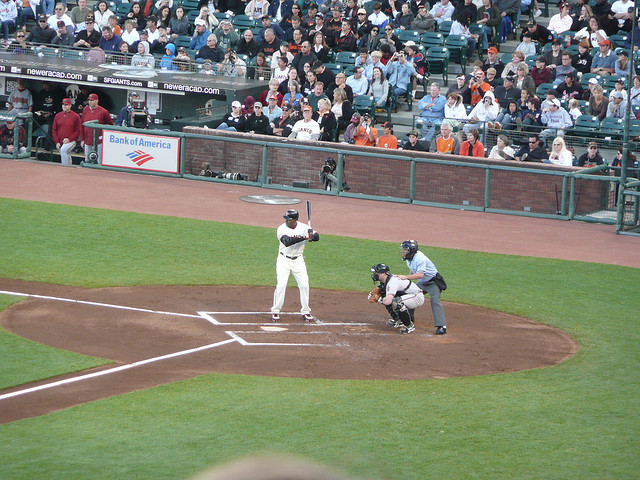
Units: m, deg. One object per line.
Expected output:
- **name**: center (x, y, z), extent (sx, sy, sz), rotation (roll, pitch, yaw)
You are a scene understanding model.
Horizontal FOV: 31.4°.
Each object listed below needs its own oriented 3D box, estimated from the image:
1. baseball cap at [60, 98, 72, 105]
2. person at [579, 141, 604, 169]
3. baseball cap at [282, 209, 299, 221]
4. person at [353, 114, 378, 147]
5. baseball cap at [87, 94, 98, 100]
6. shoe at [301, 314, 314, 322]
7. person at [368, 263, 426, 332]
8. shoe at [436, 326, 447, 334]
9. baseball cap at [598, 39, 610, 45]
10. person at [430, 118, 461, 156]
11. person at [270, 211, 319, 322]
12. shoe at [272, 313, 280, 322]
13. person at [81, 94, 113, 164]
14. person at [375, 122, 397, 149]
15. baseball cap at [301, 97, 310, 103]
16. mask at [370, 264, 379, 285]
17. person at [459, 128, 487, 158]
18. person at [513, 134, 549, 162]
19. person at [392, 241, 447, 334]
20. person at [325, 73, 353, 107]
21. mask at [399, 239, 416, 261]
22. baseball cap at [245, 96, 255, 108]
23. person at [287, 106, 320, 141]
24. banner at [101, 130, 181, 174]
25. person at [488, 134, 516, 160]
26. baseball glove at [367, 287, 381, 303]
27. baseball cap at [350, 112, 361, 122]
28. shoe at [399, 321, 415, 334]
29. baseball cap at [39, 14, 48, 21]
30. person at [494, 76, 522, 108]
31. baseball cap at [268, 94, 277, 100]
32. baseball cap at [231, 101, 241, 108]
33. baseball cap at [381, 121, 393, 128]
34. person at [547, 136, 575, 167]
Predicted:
- **baseball cap**: center (-7.257, -3.908, 32.463), extent (0.269, 0.153, 0.345), rotation (4, 8, 9)
- **person**: center (6.876, -2.146, 28.876), extent (0.587, 0.649, 0.895), rotation (3, 4, 23)
- **baseball cap**: center (-0.558, -0.465, 21.329), extent (0.259, 0.114, 0.167), rotation (7, 37, 10)
- **person**: center (1.234, -2.948, 30.909), extent (0.672, 0.840, 0.420), rotation (2, 4, 1)
- **baseball cap**: center (-6.480, -4.040, 32.422), extent (0.238, 0.104, 0.174), rotation (11, 0, -40)
- **shoe**: center (-0.232, 1.478, 21.764), extent (0.219, 0.140, 0.186), rotation (1, 4, -2)
- **person**: center (1.470, 1.079, 21.697), extent (1.178, 1.126, 0.956), rotation (-4, 6, -17)
- **shoe**: center (2.280, 1.688, 21.376), extent (0.206, 0.112, 0.093), rotation (-2, 9, -23)
- **baseball cap**: center (7.865, -5.422, 31.431), extent (0.280, 0.123, 0.166), rotation (-3, 13, -1)
- **person**: center (3.380, -2.698, 30.334), extent (0.979, 0.927, 0.604), rotation (11, 25, 28)
- **person**: center (-0.504, 0.505, 21.551), extent (0.842, 2.096, 0.618), rotation (2, 4, -2)
- **shoe**: center (-0.846, 1.459, 21.598), extent (0.122, 0.164, 0.120), rotation (1, 4, -7)
- **person**: center (-6.384, -3.124, 32.212), extent (0.776, 1.959, 1.105), rotation (1, 4, -11)
- **person**: center (1.804, -2.784, 30.622), extent (0.556, 0.696, 0.569), rotation (2, 4, 2)
- **baseball cap**: center (-0.416, -3.879, 31.722), extent (0.205, 0.161, 0.323), rotation (4, 8, -9)
- **mask**: center (1.034, 0.681, 21.501), extent (0.177, 0.291, 0.233), rotation (2, 14, -2)
- **person**: center (3.963, -2.506, 29.742), extent (0.695, 0.707, 0.538), rotation (3, 4, 20)
- **person**: center (5.527, -2.290, 29.721), extent (1.024, 0.686, 0.687), rotation (7, 14, 24)
- **person**: center (1.872, 0.875, 21.571), extent (1.055, 1.697, 1.047), rotation (1, 4, 17)
- **person**: center (0.473, -4.146, 31.748), extent (0.844, 0.878, 0.937), rotation (3, 4, 20)
- **mask**: center (1.667, 0.201, 21.439), extent (0.275, 0.360, 0.315), rotation (2, 4, 5)
- **baseball cap**: center (-2.010, -3.876, 32.265), extent (0.253, 0.299, 0.295), rotation (1, 4, -7)
- **person**: center (-0.433, -3.152, 31.012), extent (0.848, 0.880, 0.496), rotation (2, 4, 4)
- **banner**: center (-4.998, -2.449, 31.768), extent (2.937, 1.259, 0.211), rotation (9, 12, 30)
- **person**: center (4.737, -2.397, 29.687), extent (0.572, 0.621, 0.834), rotation (4, 4, 25)
- **baseball glove**: center (0.961, 1.058, 21.567), extent (0.323, 0.137, 0.234), rotation (7, 26, 29)
- **baseball cap**: center (0.988, -3.312, 30.917), extent (0.210, 0.140, 0.266), rotation (15, 30, 23)
- **shoe**: center (1.567, 1.660, 21.414), extent (0.414, 0.221, 0.123), rotation (-2, 14, -6)
- **baseball cap**: center (-8.825, -7.018, 36.125), extent (0.255, 0.222, 0.318), rotation (1, 3, -6)
- **person**: center (5.113, -3.975, 30.793), extent (0.988, 0.805, 0.543), rotation (10, 17, 38)
- **baseball cap**: center (-1.320, -3.985, 31.904), extent (0.129, 0.148, 0.166), rotation (-1, -5, 8)
- **baseball cap**: center (-2.362, -3.770, 31.795), extent (0.195, 0.168, 0.329), rotation (1, 4, -5)
- **baseball cap**: center (1.795, -3.072, 30.414), extent (0.303, 0.132, 0.168), rotation (18, 8, -4)
- **person**: center (6.201, -2.249, 29.204), extent (0.663, 0.712, 0.627), rotation (2, 4, 10)
